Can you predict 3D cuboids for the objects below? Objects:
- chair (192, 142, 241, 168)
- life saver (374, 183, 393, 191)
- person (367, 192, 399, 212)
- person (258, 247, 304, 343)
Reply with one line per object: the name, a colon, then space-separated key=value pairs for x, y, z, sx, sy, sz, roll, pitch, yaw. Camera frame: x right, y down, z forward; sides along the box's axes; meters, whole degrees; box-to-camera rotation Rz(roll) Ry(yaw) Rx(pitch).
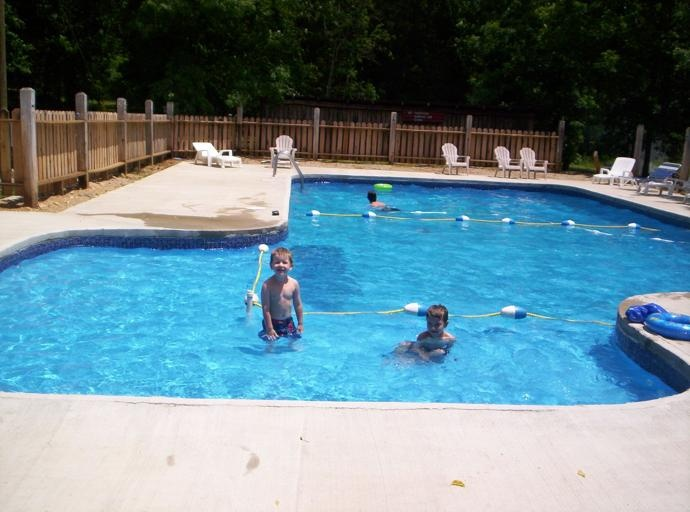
chair: x=-4.164 y=-2.914 z=19.087 sx=1.106 sy=0.686 sz=1.775 roll=-8 pitch=15 yaw=-40
life saver: x=1.154 y=-1.839 z=17.886 sx=0.549 sy=0.167 sz=0.654 roll=0 pitch=12 yaw=4
person: x=0.843 y=-1.150 z=14.341 sx=0.496 sy=0.419 sz=0.903 roll=-10 pitch=16 yaw=-35
person: x=-0.741 y=0.434 z=6.658 sx=0.490 sy=1.083 sz=0.770 roll=-2 pitch=13 yaw=-8
